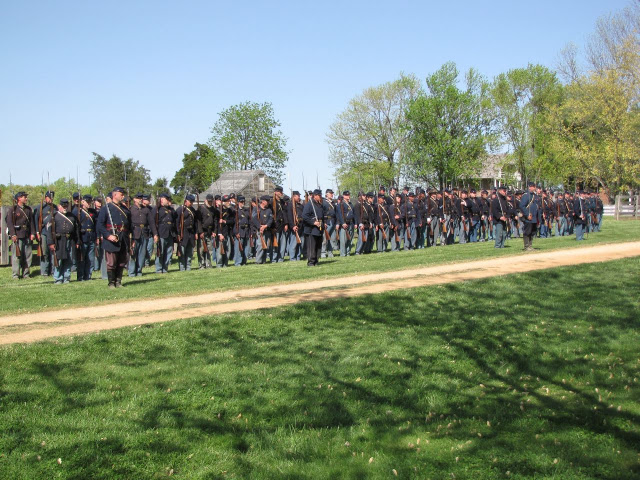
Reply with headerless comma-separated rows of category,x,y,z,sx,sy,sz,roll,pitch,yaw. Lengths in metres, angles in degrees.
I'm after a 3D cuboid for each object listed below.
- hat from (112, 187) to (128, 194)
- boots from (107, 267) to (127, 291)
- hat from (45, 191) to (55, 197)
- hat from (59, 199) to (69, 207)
hat,-5.722,-1.487,18.705,0.225,0.316,0.294,2,-7,29
boots,-5.772,1.052,18.470,0.502,0.859,0.470,-2,-3,35
hat,-8.884,-1.548,21.671,0.239,0.094,0.249,-1,-3,5
hat,-8.105,-1.196,20.904,0.236,0.226,0.191,-16,12,-10
